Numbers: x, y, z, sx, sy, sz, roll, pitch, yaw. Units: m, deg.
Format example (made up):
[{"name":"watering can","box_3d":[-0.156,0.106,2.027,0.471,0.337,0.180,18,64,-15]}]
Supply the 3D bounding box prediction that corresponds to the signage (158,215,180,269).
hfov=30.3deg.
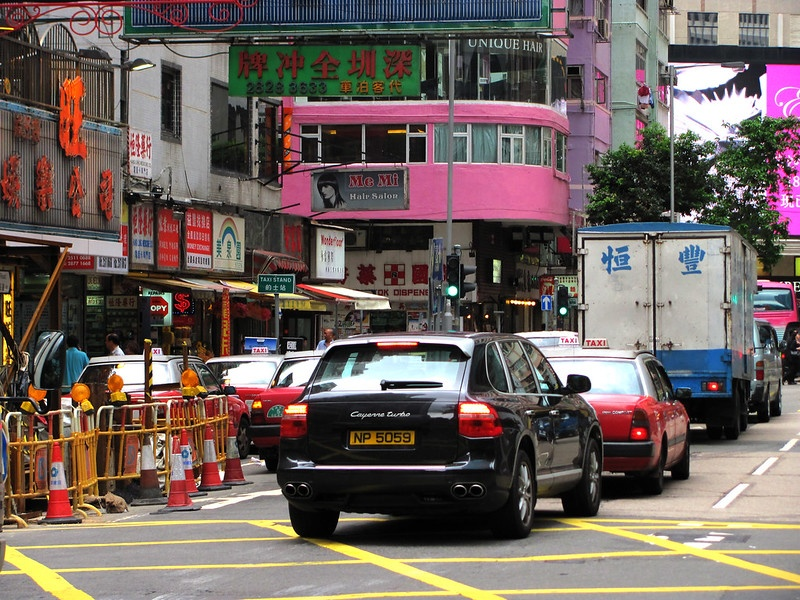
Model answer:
[{"name":"signage","box_3d":[-5.288,-1.307,33.703,0.133,1.327,1.167,-4,-7,14]}]

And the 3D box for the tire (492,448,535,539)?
[{"name":"tire","box_3d":[1.121,1.949,14.782,0.312,0.935,0.947,-4,0,26]}]

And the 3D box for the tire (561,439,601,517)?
[{"name":"tire","box_3d":[2.099,2.030,16.915,0.314,0.919,0.944,-3,-5,20]}]

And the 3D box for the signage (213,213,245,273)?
[{"name":"signage","box_3d":[-4.450,-1.469,37.563,0.095,1.496,2.204,-3,7,-35]}]

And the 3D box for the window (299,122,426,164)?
[{"name":"window","box_3d":[-1.247,-5.401,50.854,4.731,1.599,0.126,1,3,15]}]

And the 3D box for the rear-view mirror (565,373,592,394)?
[{"name":"rear-view mirror","box_3d":[1.976,0.942,16.396,0.223,0.114,0.220,6,0,-22]}]

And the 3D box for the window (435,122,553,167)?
[{"name":"window","box_3d":[3.811,-5.484,51.684,6.388,1.553,0.186,-1,-5,-31]}]

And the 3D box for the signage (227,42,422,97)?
[{"name":"signage","box_3d":[-1.390,-4.622,29.933,3.748,1.087,0.031,0,-8,0]}]

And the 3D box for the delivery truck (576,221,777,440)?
[{"name":"delivery truck","box_3d":[4.356,0.118,25.067,2.202,2.626,4.340,-1,-5,15]}]

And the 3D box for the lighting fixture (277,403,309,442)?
[{"name":"lighting fixture","box_3d":[-1.017,1.243,14.938,0.234,0.382,0.107,-1,1,20]}]

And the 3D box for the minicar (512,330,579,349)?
[{"name":"minicar","box_3d":[2.700,0.719,26.685,0.892,0.395,0.537,3,-1,-7]}]

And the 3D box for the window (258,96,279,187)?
[{"name":"window","box_3d":[-3.580,-4.324,40.940,0.269,2.241,0.869,-12,22,-36]}]

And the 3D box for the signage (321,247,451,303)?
[{"name":"signage","box_3d":[0.227,-0.912,53.715,3.916,1.874,2.108,1,5,23]}]

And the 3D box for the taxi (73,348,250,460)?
[{"name":"taxi","box_3d":[-3.591,1.571,22.734,1.472,1.111,2.710,-1,-2,21]}]

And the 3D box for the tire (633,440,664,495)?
[{"name":"tire","box_3d":[3.105,2.066,18.344,0.245,0.677,0.684,-5,-8,14]}]

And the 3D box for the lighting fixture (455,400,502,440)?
[{"name":"lighting fixture","box_3d":[0.756,1.198,14.504,0.337,0.260,0.577,0,-7,2]}]

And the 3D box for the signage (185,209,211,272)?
[{"name":"signage","box_3d":[-4.838,-1.389,35.276,0.190,1.706,1.495,-3,-4,15]}]

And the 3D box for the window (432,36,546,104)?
[{"name":"window","box_3d":[2.849,-8.802,52.294,4.312,2.554,2.388,-13,30,-32]}]

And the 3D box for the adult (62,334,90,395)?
[{"name":"adult","box_3d":[-5.499,1.136,25.060,0.488,1.310,0.342,1,41,-7]}]

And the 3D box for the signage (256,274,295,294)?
[{"name":"signage","box_3d":[-2.588,-0.331,31.015,0.914,0.454,0.438,9,11,44]}]
